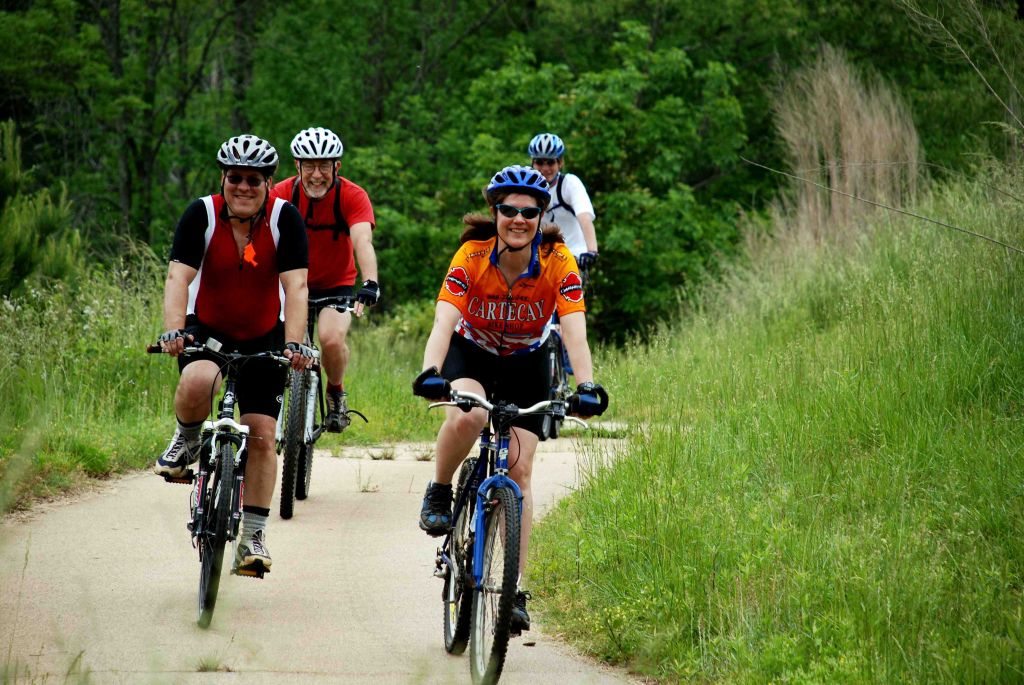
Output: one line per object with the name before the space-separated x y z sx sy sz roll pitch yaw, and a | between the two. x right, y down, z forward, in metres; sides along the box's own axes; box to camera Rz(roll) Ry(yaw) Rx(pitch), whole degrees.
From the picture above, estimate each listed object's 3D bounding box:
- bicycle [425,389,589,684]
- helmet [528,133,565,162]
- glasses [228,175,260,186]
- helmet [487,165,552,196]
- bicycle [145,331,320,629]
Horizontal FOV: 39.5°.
bicycle | -0.152 1.518 11.200 0.992 2.271 0.895 1 3 9
helmet | 0.352 -2.115 15.592 0.360 0.285 0.319 0 4 1
glasses | -2.245 -1.337 11.907 0.263 0.108 0.030 -1 3 -14
helmet | 0.035 -1.284 11.471 0.509 0.245 0.190 0 4 -1
bicycle | -2.436 1.114 11.923 0.739 2.383 0.717 3 4 38
